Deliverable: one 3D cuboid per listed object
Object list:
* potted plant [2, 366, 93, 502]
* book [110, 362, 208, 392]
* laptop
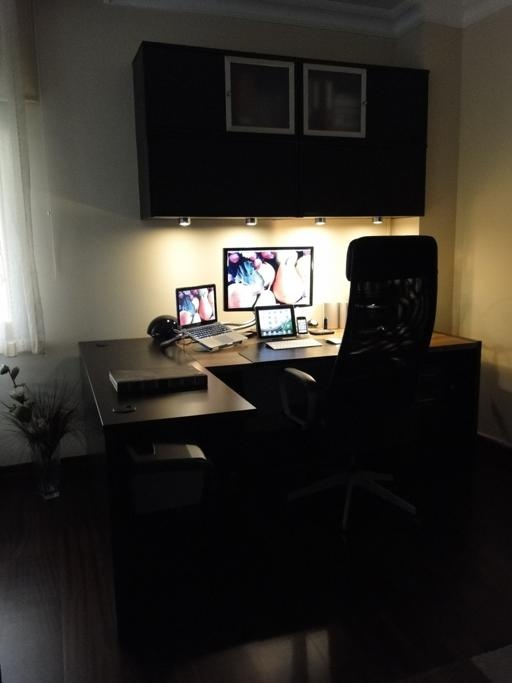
[{"bbox_3d":[-1.146,0.406,2.912,0.402,0.639,0.597,-3,9,-13],"label":"potted plant"},{"bbox_3d":[-0.355,0.134,2.045,0.338,0.058,0.255,-4,10,-19],"label":"book"},{"bbox_3d":[-0.256,-0.055,3.068,0.364,0.295,0.320,35,30,34],"label":"laptop"}]
